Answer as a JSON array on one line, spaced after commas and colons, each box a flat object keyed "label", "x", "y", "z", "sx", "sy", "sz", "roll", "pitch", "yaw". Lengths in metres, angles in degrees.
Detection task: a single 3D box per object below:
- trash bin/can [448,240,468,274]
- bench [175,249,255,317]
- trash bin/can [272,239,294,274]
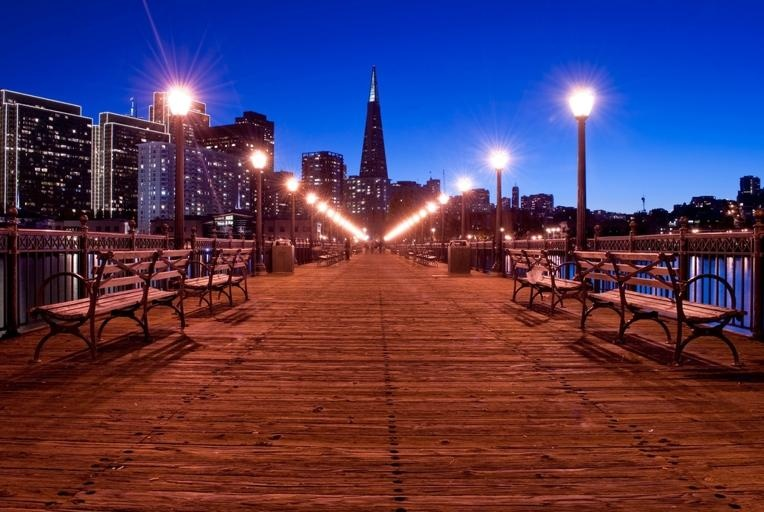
[{"label": "trash bin/can", "x": 2.790, "y": 0.073, "z": 23.453, "sx": 0.743, "sy": 1.104, "sz": 1.129, "roll": 1, "pitch": 14, "yaw": 4}, {"label": "bench", "x": -3.317, "y": 0.473, "z": 13.217, "sx": 0.853, "sy": 1.150, "sz": 2.386, "roll": -5, "pitch": 1, "yaw": 3}, {"label": "trash bin/can", "x": -3.561, "y": -0.007, "z": 24.995, "sx": 1.058, "sy": 1.488, "sz": 1.056, "roll": -1, "pitch": 6, "yaw": -3}]
